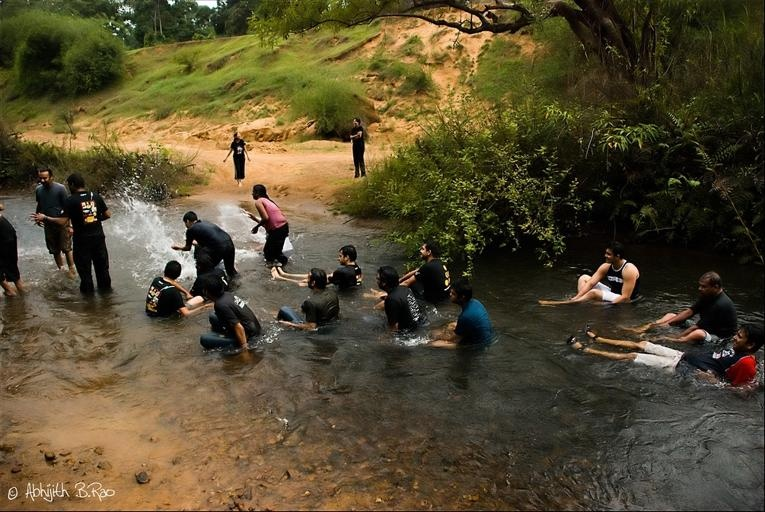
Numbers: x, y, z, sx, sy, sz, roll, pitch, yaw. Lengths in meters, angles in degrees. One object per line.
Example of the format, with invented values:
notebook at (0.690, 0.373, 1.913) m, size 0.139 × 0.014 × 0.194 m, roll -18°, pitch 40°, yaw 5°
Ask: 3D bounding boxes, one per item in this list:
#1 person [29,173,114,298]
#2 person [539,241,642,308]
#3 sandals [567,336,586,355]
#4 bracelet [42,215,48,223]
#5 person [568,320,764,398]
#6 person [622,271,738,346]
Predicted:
person at (-5.972, -0.426, 10.768) m, size 0.774 × 2.459 × 0.449 m, roll -8°, pitch 17°, yaw -31°
person at (4.219, 0.485, 10.349) m, size 1.504 × 0.947 × 0.678 m, roll 5°, pitch 14°, yaw 17°
sandals at (3.250, 1.501, 8.885) m, size 0.177 × 0.117 × 0.272 m, roll -40°, pitch 25°, yaw -2°
bracelet at (-7.183, -0.790, 11.251) m, size 0.095 × 0.134 × 0.138 m, roll -3°, pitch 6°, yaw -33°
person at (4.695, 1.259, 8.530) m, size 3.110 × 0.999 × 1.126 m, roll 8°, pitch 18°, yaw 24°
person at (5.367, 0.871, 9.215) m, size 2.021 × 1.070 × 1.039 m, roll -9°, pitch 19°, yaw 19°
